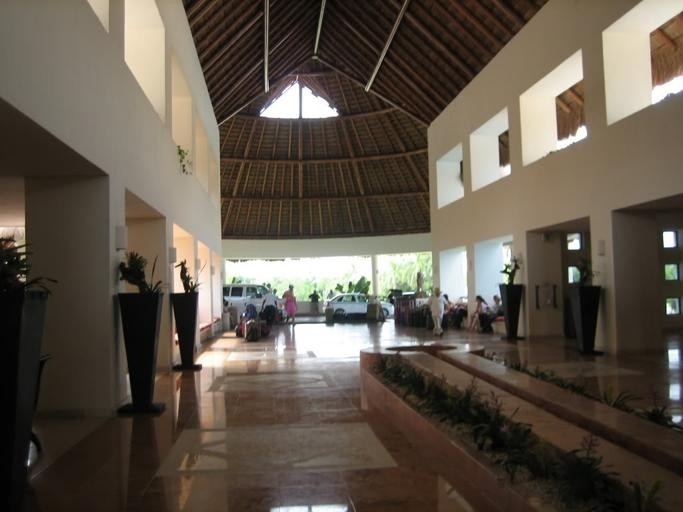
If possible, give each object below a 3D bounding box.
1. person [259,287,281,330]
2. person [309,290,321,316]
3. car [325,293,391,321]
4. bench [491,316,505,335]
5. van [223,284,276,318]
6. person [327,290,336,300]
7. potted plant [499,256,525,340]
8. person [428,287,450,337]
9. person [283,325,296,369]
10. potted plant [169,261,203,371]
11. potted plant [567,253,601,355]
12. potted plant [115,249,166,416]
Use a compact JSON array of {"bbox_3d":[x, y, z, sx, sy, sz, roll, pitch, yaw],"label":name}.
[{"bbox_3d":[-2.726,2.024,18.421,0.546,1.584,0.759,-9,-48,6],"label":"person"},{"bbox_3d":[-1.333,2.321,24.276,0.440,1.144,1.385,-2,0,-5],"label":"person"},{"bbox_3d":[0.789,2.156,21.391,2.387,1.104,1.220,-3,0,-9],"label":"car"},{"bbox_3d":[4.286,1.912,13.361,0.310,0.302,0.549,-2,1,3],"label":"bench"},{"bbox_3d":[-3.969,1.823,20.005,1.823,1.132,1.144,2,-4,-2],"label":"van"},{"bbox_3d":[-0.437,1.883,22.866,0.357,0.273,0.827,-3,18,5],"label":"person"},{"bbox_3d":[4.169,1.034,11.991,0.514,2.066,0.750,-3,-1,43],"label":"potted plant"},{"bbox_3d":[2.759,1.574,14.085,0.415,1.337,1.638,-2,0,10],"label":"person"},{"bbox_3d":[-1.363,2.359,12.519,0.219,1.061,0.289,-17,-30,20],"label":"person"},{"bbox_3d":[-3.107,1.170,9.721,0.524,1.805,1.340,-2,-1,-18],"label":"potted plant"},{"bbox_3d":[4.704,0.939,9.461,0.490,1.999,0.582,-2,0,-9],"label":"potted plant"},{"bbox_3d":[-2.715,1.012,6.605,0.595,1.749,0.719,-2,0,-20],"label":"potted plant"}]
